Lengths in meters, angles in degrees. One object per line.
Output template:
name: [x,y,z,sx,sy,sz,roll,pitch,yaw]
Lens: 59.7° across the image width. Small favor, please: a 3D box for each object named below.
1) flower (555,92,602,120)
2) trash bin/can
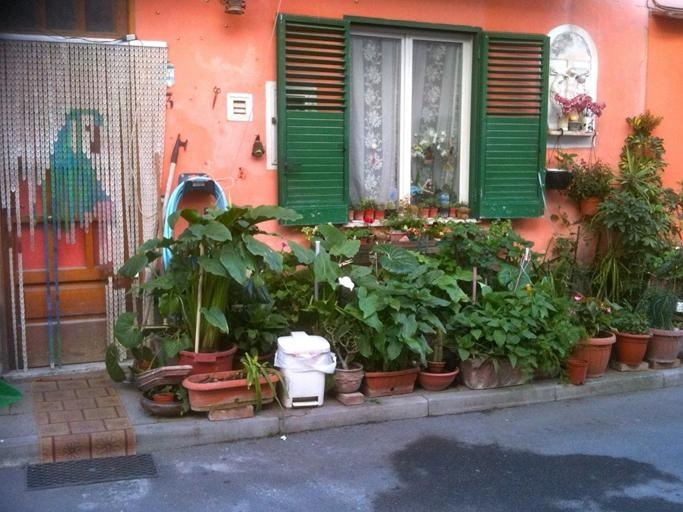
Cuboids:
flower: [2.977,-1.875,7.540,0.364,0.237,0.384,4,3,3]
trash bin/can: [-0.363,0.994,5.397,0.525,0.584,0.557,-1,6,-11]
